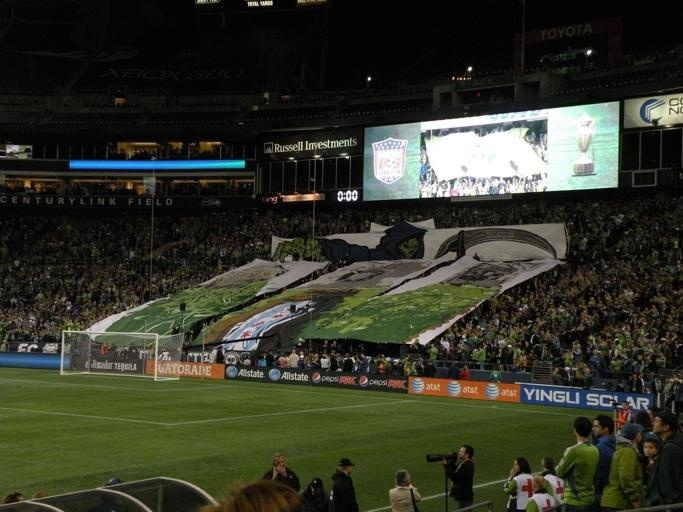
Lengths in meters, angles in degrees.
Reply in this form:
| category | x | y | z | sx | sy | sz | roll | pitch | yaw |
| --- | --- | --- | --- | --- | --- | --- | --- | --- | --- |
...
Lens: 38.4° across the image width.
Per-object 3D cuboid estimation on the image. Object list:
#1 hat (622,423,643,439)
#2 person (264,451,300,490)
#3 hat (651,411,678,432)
| category | x | y | z | sx | sy | sz | roll | pitch | yaw |
| --- | --- | --- | --- | --- | --- | --- | --- | --- | --- |
| hat | 9.919 | 5.925 | 33.508 | 0.669 | 0.367 | 0.470 | -25 | 12 | -26 |
| person | -2.195 | 7.930 | 34.996 | 1.442 | 1.699 | 0.973 | -2 | -7 | 9 |
| hat | 10.483 | 5.197 | 31.747 | 0.568 | 0.707 | 0.722 | 8 | 18 | 4 |
